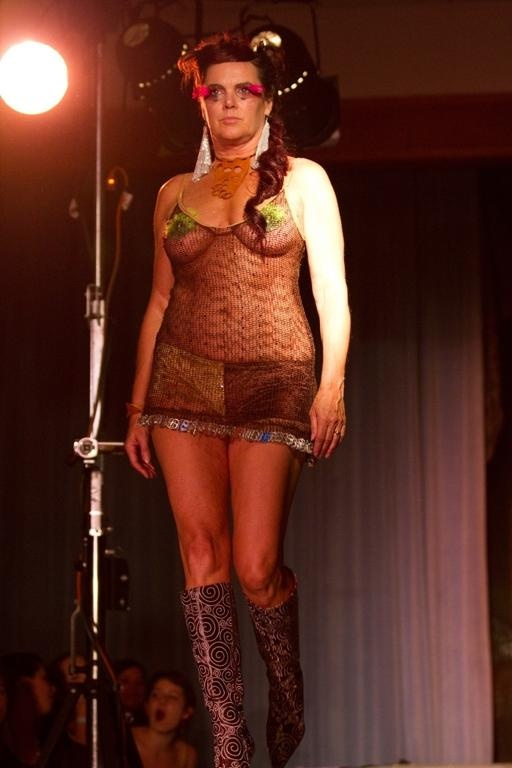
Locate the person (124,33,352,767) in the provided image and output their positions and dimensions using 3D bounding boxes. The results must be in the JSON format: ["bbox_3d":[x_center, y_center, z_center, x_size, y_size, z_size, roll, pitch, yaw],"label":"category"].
[{"bbox_3d":[-0.040,-0.054,1.841,0.391,1.433,0.579,1,0,-32],"label":"person"}]

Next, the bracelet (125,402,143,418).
[{"bbox_3d":[-0.287,0.064,1.947,0.030,0.037,0.034,-7,28,3],"label":"bracelet"}]

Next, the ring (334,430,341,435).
[{"bbox_3d":[0.173,0.101,1.734,0.012,0.011,0.003,12,-20,-41],"label":"ring"}]
